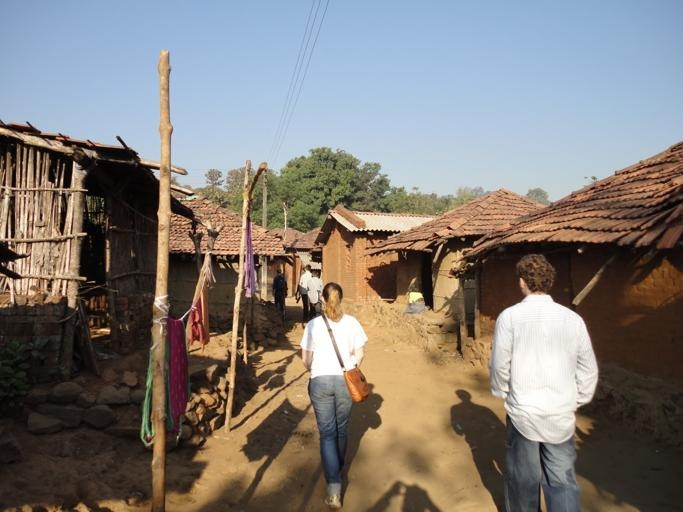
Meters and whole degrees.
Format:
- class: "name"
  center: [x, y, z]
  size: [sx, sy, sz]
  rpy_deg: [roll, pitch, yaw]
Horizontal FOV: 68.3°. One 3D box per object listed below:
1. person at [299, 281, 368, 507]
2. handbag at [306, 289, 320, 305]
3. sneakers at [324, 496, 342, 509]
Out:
- class: "person"
  center: [-0.116, 1.837, 6.655]
  size: [0.765, 2.916, 0.528]
  rpy_deg: [-3, 6, -9]
- class: "handbag"
  center: [-0.959, 1.363, 16.768]
  size: [0.487, 0.733, 0.369]
  rpy_deg: [-2, 3, 4]
- class: "sneakers"
  center: [-0.131, 3.223, 6.585]
  size: [0.184, 0.133, 0.229]
  rpy_deg: [-1, 0, -2]
